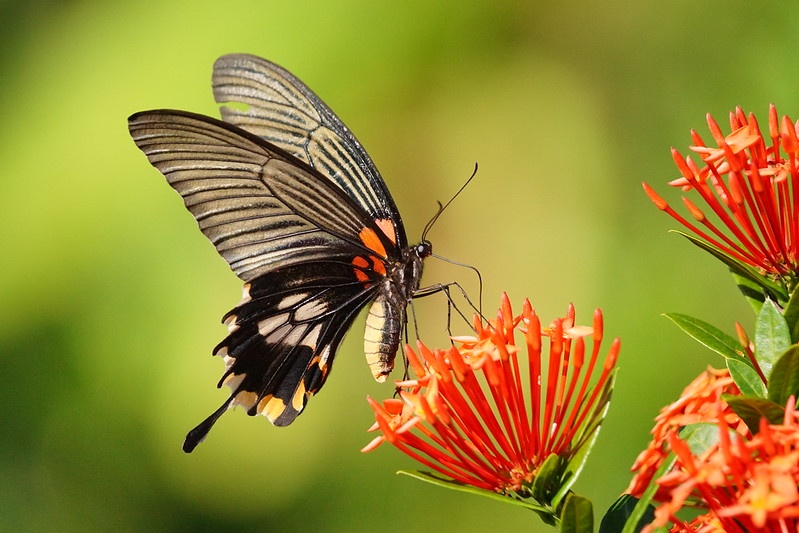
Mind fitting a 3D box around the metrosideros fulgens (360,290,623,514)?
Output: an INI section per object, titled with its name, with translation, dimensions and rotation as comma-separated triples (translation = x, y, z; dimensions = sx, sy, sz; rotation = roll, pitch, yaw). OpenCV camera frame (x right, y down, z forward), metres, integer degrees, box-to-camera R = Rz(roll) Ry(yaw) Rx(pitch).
[metrosideros fulgens]
translation = 0.292, 0.425, 2.797
dimensions = 0.596, 0.657, 0.719
rotation = 51, -14, -18
